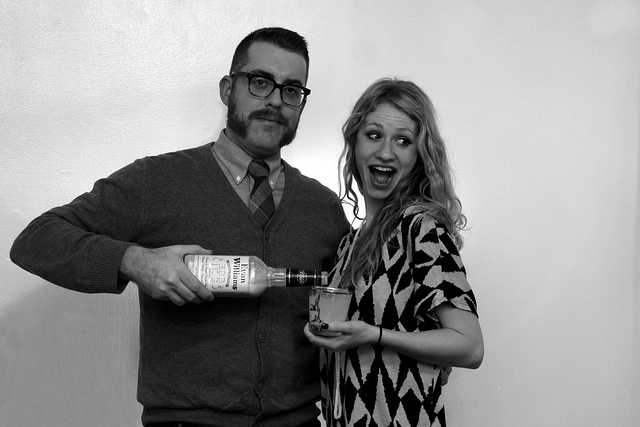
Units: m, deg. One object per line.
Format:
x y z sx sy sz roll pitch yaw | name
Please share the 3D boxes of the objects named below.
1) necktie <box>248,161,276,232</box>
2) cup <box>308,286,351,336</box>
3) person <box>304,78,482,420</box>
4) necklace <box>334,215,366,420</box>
-0.234 -0.074 2.406 0.108 0.288 0.079 2 -6 -13 | necktie
0.027 0.334 2.105 0.169 0.167 0.165 8 -3 0 | cup
0.279 0.122 2.393 0.661 1.407 0.575 0 -6 0 | person
0.115 0.406 2.387 0.103 0.808 0.281 -1 -6 14 | necklace
